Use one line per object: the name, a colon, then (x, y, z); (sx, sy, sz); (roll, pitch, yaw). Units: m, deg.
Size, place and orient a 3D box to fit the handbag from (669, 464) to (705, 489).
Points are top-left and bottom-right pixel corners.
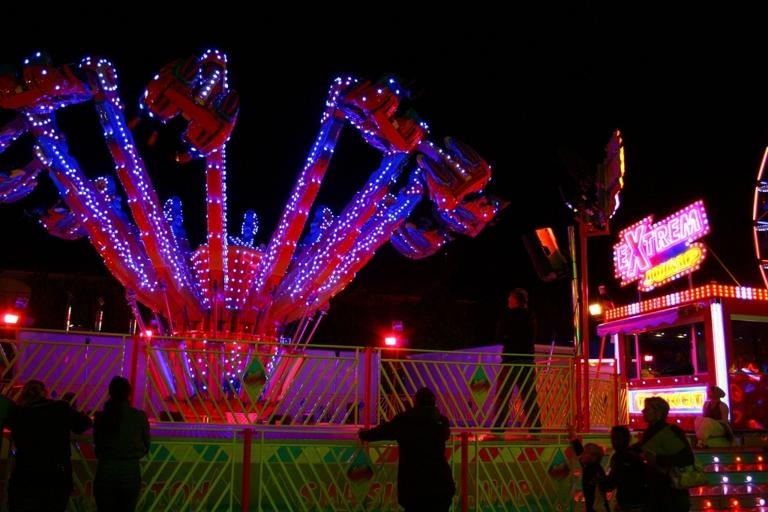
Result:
handbag: (4.436, 3.220, 11.519); (0.355, 0.351, 0.163); (-1, -12, -1)
